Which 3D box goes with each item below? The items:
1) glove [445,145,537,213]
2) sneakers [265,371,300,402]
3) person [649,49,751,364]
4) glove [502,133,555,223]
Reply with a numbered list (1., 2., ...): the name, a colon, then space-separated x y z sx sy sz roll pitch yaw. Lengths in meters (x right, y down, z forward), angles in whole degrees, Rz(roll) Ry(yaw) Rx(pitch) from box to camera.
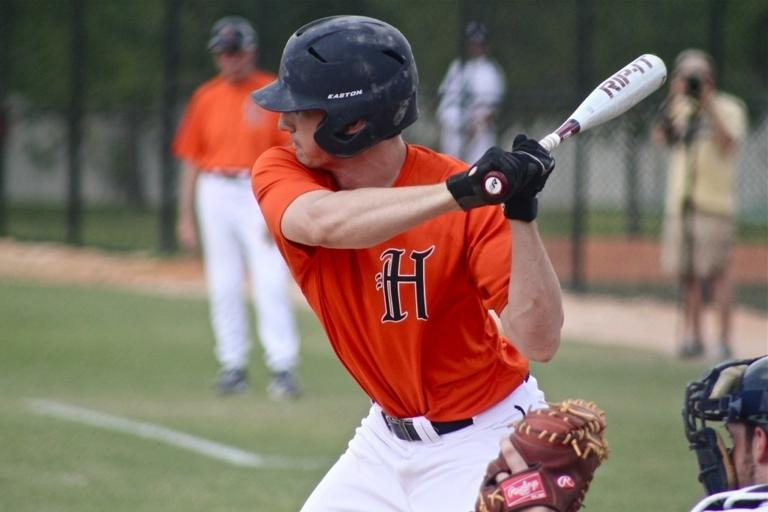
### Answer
1. glove: 0.534 -0.373 6.683 0.251 0.181 0.395 -24 9 48
2. sneakers: -0.682 0.914 9.409 0.205 0.103 0.185 -1 39 -36
3. person: 2.452 -0.391 10.641 0.748 2.315 0.687 5 9 25
4. glove: 0.730 -0.383 6.770 0.126 0.395 0.285 13 13 4
